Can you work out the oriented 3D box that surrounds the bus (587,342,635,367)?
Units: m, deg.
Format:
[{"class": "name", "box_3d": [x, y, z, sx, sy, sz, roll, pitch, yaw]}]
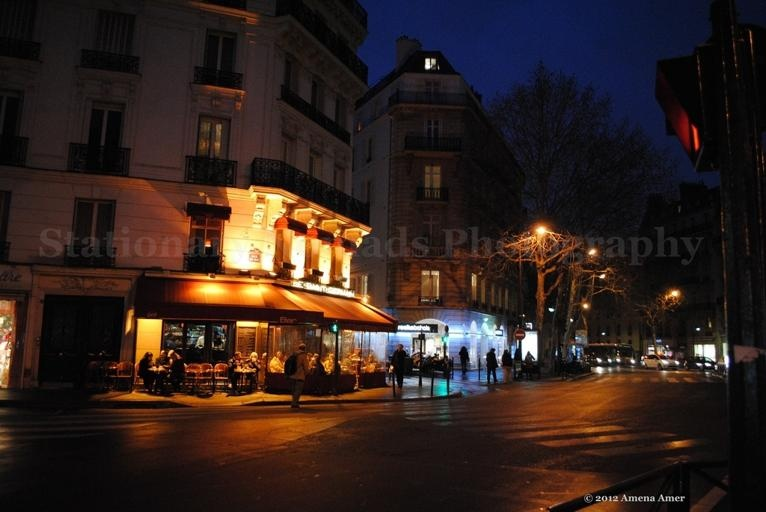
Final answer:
[{"class": "bus", "box_3d": [23.819, 10.465, 69.331, 5.162, 2.571, 3.552, -7, -14, 35]}]

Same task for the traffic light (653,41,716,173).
[{"class": "traffic light", "box_3d": [3.616, -1.730, 7.846, 0.719, 1.280, 0.641, -1, -11, 10]}]

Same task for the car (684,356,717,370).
[{"class": "car", "box_3d": [27.347, 9.269, 56.503, 1.430, 1.157, 3.284, 0, 0, 22]}]

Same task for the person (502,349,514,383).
[{"class": "person", "box_3d": [6.316, 5.644, 33.641, 0.416, 1.690, 0.646, 0, -11, 6]}]

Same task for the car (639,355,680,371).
[{"class": "car", "box_3d": [26.805, 10.116, 63.481, 2.993, 1.818, 5.973, -4, -13, 22]}]

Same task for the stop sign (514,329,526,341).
[{"class": "stop sign", "box_3d": [7.921, 4.470, 38.289, 0.541, 0.707, 1.468, -1, -12, 10]}]
